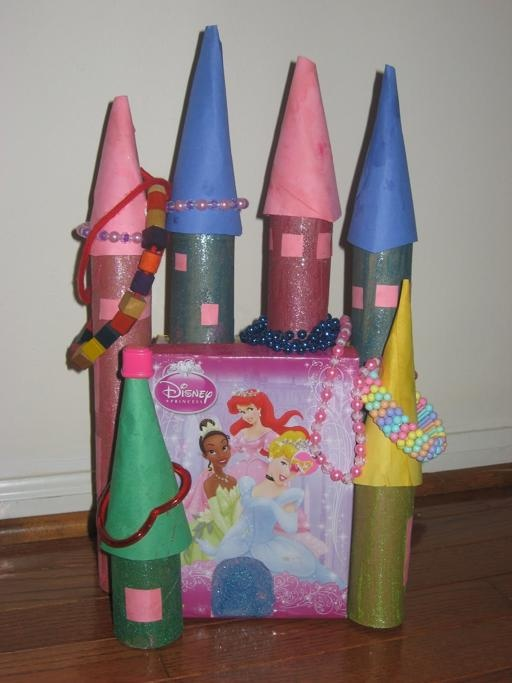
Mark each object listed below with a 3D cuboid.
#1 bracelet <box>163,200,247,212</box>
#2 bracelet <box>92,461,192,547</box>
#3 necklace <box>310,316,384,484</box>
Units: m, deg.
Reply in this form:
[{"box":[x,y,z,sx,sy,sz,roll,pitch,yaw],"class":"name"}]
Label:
[{"box":[-0.073,-0.203,1.164,0.119,0.021,0.034,0,13,-4],"class":"bracelet"},{"box":[-0.157,0.224,1.073,0.131,0.090,0.122,0,13,-6],"class":"bracelet"},{"box":[0.135,0.084,1.172,0.086,0.213,0.187,4,14,9],"class":"necklace"}]
